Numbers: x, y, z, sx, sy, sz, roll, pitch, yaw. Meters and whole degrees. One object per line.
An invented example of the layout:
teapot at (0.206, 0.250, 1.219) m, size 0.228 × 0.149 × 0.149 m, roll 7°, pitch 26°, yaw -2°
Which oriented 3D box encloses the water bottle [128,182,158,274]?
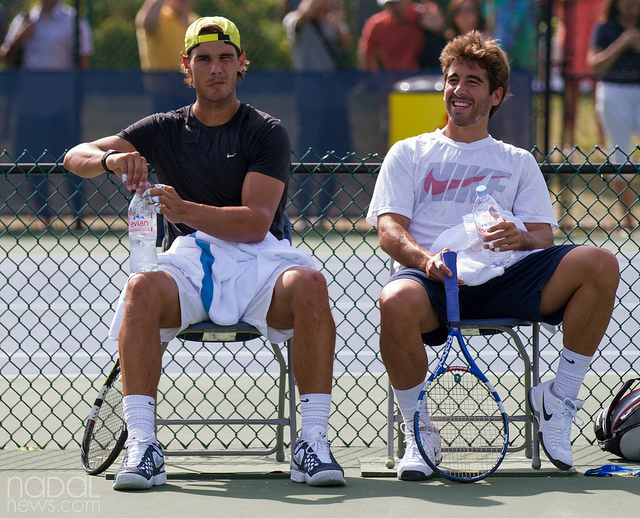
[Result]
water bottle at (-0.986, -0.180, 6.132) m, size 0.153 × 0.523 × 0.171 m, roll 0°, pitch -1°, yaw 2°

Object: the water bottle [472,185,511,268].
water bottle at (0.970, -0.150, 6.235) m, size 0.179 × 0.566 × 0.187 m, roll -10°, pitch -7°, yaw -1°

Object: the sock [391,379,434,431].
sock at (0.486, 0.770, 5.989) m, size 0.213 × 0.258 × 0.289 m, roll -1°, pitch 10°, yaw -1°

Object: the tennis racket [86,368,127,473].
tennis racket at (-1.198, 0.897, 6.094) m, size 0.078 × 0.549 × 0.257 m, roll 23°, pitch -21°, yaw -40°

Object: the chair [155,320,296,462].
chair at (-0.536, 0.677, 6.559) m, size 0.952 × 1.007 × 0.784 m, roll 0°, pitch -15°, yaw -4°

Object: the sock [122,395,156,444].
sock at (-0.959, 0.810, 5.752) m, size 0.157 × 0.199 × 0.119 m, roll -1°, pitch 13°, yaw -11°

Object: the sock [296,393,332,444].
sock at (-0.036, 0.842, 5.833) m, size 0.169 × 0.267 × 0.120 m, roll 2°, pitch 13°, yaw 0°

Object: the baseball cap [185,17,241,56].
baseball cap at (-0.627, -1.305, 6.345) m, size 0.326 × 0.217 × 0.196 m, roll 0°, pitch 13°, yaw -6°

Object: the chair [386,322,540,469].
chair at (0.776, 0.792, 6.352) m, size 0.936 × 0.943 × 0.756 m, roll -1°, pitch -13°, yaw 3°
